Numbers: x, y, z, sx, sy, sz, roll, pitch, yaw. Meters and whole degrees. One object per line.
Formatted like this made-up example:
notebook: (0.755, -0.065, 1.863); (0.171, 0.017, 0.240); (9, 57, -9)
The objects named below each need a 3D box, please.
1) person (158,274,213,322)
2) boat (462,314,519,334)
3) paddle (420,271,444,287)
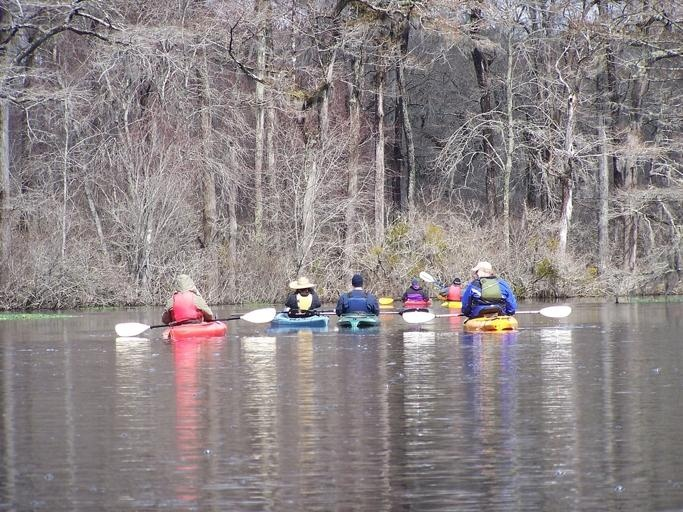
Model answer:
person: (-3.809, 0.872, 35.982); (1.122, 1.534, 1.198); (4, 36, 1)
boat: (3.616, 1.732, 36.964); (1.322, 0.446, 0.697); (-2, 1, 22)
paddle: (2.950, 0.899, 49.265); (0.171, 0.349, 1.214); (1, -20, 36)
